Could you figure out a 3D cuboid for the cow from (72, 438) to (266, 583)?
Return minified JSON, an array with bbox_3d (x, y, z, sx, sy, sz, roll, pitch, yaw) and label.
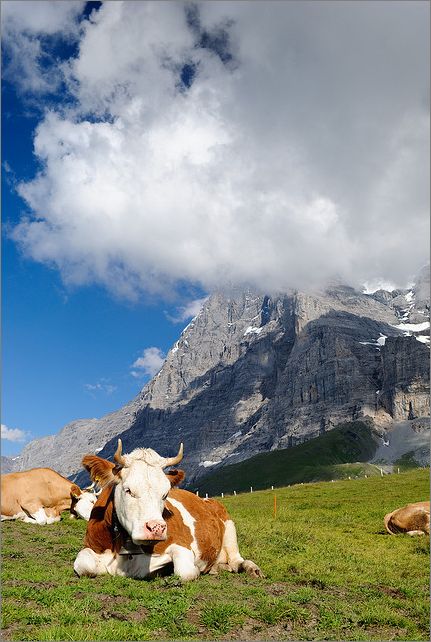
[{"bbox_3d":[-1.070,4.585,12.042,3.337,2.606,4.616,-10,-27,18],"label":"cow"}]
